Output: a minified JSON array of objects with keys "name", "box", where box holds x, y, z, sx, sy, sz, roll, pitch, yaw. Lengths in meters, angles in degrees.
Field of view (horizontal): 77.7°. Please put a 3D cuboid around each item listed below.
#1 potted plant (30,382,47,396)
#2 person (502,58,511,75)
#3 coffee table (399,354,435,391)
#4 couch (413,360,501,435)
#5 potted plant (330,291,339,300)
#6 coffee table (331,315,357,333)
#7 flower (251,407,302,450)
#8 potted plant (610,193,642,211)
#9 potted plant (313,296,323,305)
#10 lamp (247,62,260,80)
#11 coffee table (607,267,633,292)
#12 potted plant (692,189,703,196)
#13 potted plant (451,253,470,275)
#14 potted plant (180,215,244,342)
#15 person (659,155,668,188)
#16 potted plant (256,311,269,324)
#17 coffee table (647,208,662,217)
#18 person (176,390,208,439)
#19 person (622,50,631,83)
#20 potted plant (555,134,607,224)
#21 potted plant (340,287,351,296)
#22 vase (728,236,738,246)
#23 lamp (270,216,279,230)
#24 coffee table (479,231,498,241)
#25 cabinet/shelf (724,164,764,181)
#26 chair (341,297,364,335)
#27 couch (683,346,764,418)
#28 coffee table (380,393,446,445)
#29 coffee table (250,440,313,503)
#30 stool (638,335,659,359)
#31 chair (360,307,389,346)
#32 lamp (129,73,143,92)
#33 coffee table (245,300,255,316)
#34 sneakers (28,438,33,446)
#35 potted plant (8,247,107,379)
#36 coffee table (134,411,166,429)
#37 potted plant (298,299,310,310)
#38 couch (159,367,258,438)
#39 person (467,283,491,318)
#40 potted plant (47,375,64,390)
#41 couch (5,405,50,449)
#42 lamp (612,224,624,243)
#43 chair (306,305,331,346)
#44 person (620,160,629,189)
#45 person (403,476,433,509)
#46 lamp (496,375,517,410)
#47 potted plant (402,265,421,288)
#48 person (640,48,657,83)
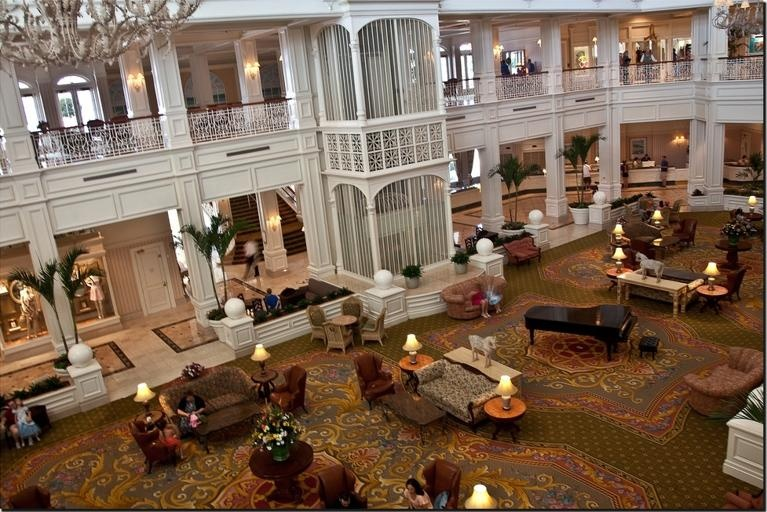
[{"name":"potted plant","box":[-8.934,3.415,12.326,0.292,0.272,0.271,-5,9,-12]},{"name":"person","box":[5.721,-8.834,22.263,0.354,0.710,1.271,-1,19,12]},{"name":"coffee table","box":[0.853,3.036,11.768,0.674,0.858,0.828,19,-9,-20]},{"name":"couch","box":[1.729,3.145,11.113,1.014,0.913,2.141,-16,17,-35]},{"name":"potted plant","box":[-1.605,1.297,15.651,0.216,0.203,0.284,19,40,31]},{"name":"coffee table","box":[-1.145,2.011,14.125,0.525,0.175,0.512,4,18,15]},{"name":"flower","box":[-2.030,3.348,9.190,0.945,0.914,0.860,6,-18,-33]},{"name":"potted plant","box":[11.279,-2.484,22.077,2.087,0.434,0.501,-16,33,-15]},{"name":"potted plant","box":[-2.104,1.431,15.384,0.255,0.171,0.264,2,11,32]},{"name":"lamp","box":[-5.221,-7.410,19.102,0.260,0.641,0.591,5,21,29]},{"name":"coffee table","box":[7.663,0.711,15.713,0.854,0.603,0.860,-9,14,-32]},{"name":"potted plant","box":[14.500,-2.922,21.949,0.341,0.322,0.124,-7,-10,13]},{"name":"potted plant","box":[2.702,0.223,16.681,0.716,0.671,0.691,-1,13,-4]},{"name":"potted plant","box":[-5.381,0.299,15.589,2.485,3.198,2.145,9,16,7]},{"name":"person","box":[16.093,-4.768,27.126,0.416,1.462,1.124,4,21,25]},{"name":"potted plant","box":[-3.766,1.892,14.796,0.310,0.185,0.338,11,17,31]},{"name":"coffee table","box":[11.429,-1.799,19.897,0.491,0.255,0.457,-5,14,-5]},{"name":"person","box":[-4.420,3.576,10.981,0.713,0.837,0.691,-5,6,37]},{"name":"person","box":[11.953,-9.165,23.390,0.339,1.384,1.617,3,20,25]},{"name":"potted plant","box":[9.156,-3.897,21.853,2.642,3.250,2.542,-5,12,-12]},{"name":"potted plant","box":[-1.265,1.164,15.872,0.264,0.182,0.255,0,7,-22]},{"name":"vase","box":[11.896,-0.513,16.115,0.289,0.250,0.299,-3,8,3]},{"name":"lamp","box":[-4.481,-1.360,19.453,0.212,0.472,0.475,-3,14,32]},{"name":"coffee table","box":[4.323,-0.833,19.497,0.698,0.363,1.161,0,19,15]},{"name":"cabinet/shelf","box":[18.970,-4.440,25.512,1.866,0.666,1.887,5,16,38]},{"name":"chair","box":[-1.021,1.901,14.640,0.798,1.127,0.792,1,10,11]},{"name":"couch","box":[7.314,2.743,10.192,1.559,0.727,0.875,-22,32,-31]},{"name":"coffee table","box":[0.704,3.400,10.544,0.881,0.539,1.552,-24,27,-34]},{"name":"coffee table","box":[-1.944,4.307,9.321,1.174,0.787,1.143,-10,8,-36]},{"name":"stool","box":[6.880,2.239,12.285,0.511,0.499,0.800,5,21,26]},{"name":"chair","box":[-0.303,2.142,14.404,0.729,0.871,0.720,4,14,29]},{"name":"lamp","box":[-8.601,-6.014,16.450,0.193,0.564,0.628,6,15,19]},{"name":"coffee table","box":[-4.511,1.720,16.073,0.458,0.479,0.442,-5,18,-10]},{"name":"sneakers","box":[-8.603,4.496,11.560,0.109,0.106,0.192,9,39,-46]},{"name":"potted plant","box":[-9.947,1.712,14.282,2.692,3.308,2.340,-13,33,-23]},{"name":"coffee table","box":[-5.171,3.658,10.508,0.554,0.119,0.535,-1,8,-14]},{"name":"potted plant","box":[-2.547,1.557,15.345,0.297,0.226,0.290,-3,5,-43]},{"name":"couch","box":[-3.911,3.426,11.363,2.504,1.151,1.288,-15,24,-33]},{"name":"person","box":[3.013,1.402,15.143,0.655,1.113,0.377,7,27,23]},{"name":"potted plant","box":[-8.644,3.341,12.556,0.301,0.255,0.319,-1,-7,31]},{"name":"couch","box":[-8.692,4.152,11.528,0.945,1.169,0.708,-7,9,-41]},{"name":"lamp","box":[9.028,-0.891,18.204,0.353,0.632,0.821,5,21,28]},{"name":"chair","box":[-1.874,2.091,14.637,0.850,1.065,0.762,-3,10,16]},{"name":"person","box":[14.298,-4.751,28.075,0.399,1.361,1.288,4,21,25]},{"name":"person","box":[0.629,4.202,8.409,0.442,0.706,0.418,-7,19,-3]},{"name":"lamp","box":[2.622,2.833,10.116,0.368,0.695,0.428,-1,19,12]},{"name":"potted plant","box":[0.893,0.657,15.988,0.734,0.702,0.716,-1,17,0]},{"name":"person","box":[12.754,-9.171,22.829,0.799,1.590,0.502,2,-7,15]}]
